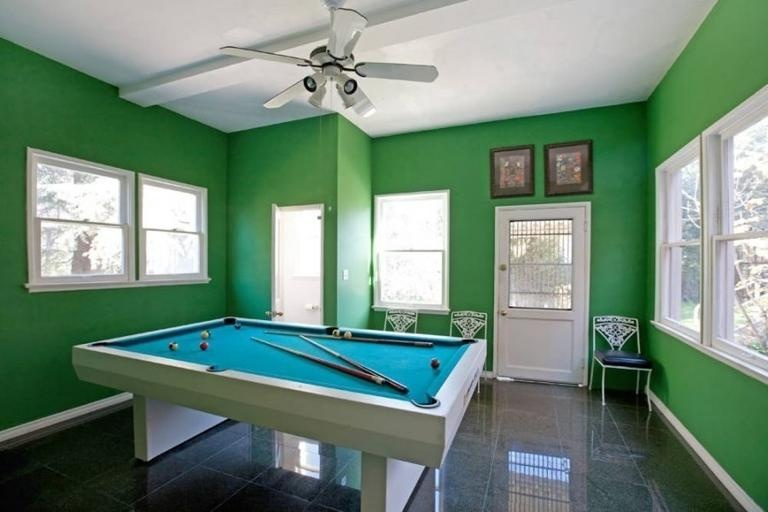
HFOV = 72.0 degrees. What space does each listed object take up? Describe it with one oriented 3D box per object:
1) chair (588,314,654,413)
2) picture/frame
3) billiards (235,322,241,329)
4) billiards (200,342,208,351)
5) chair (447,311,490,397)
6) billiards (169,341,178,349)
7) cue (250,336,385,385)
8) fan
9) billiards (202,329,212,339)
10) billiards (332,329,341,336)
[{"bbox_3d":[2.783,1.251,6.215,0.693,1.009,0.614,6,3,14],"label":"chair"},{"bbox_3d":[2.019,-1.112,6.823,1.248,0.690,0.038,-1,1,16],"label":"picture/frame"},{"bbox_3d":[-1.595,0.761,5.777,0.057,0.040,0.057,0,-5,19],"label":"billiards"},{"bbox_3d":[-1.717,0.860,5.032,0.071,0.079,0.070,-18,-15,17],"label":"billiards"},{"bbox_3d":[1.124,1.223,7.081,0.543,0.932,0.474,10,5,30],"label":"chair"},{"bbox_3d":[-1.998,0.848,5.034,0.065,0.066,0.075,7,-5,7],"label":"billiards"},{"bbox_3d":[-0.588,0.954,4.750,1.239,0.063,0.129,9,0,36],"label":"cue"},{"bbox_3d":[-0.428,-1.723,4.684,1.687,0.792,0.668,-1,0,18],"label":"fan"},{"bbox_3d":[-1.809,0.791,5.369,0.082,0.071,0.085,-4,-5,22],"label":"billiards"},{"bbox_3d":[-0.482,0.774,5.353,0.057,0.064,0.047,14,7,-35],"label":"billiards"}]
